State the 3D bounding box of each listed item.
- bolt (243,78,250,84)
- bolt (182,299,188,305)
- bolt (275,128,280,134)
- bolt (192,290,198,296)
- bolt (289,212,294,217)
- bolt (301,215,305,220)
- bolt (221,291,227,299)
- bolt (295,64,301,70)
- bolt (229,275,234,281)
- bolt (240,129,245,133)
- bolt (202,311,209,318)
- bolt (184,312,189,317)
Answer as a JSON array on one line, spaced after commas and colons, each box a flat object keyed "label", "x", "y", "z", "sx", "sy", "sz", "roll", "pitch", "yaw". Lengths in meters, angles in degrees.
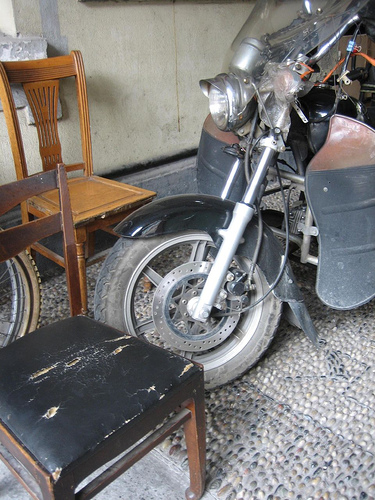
[{"label": "bolt", "x": 0.142, "y": -0.405, "z": 0.977, "sx": 0.016, "sy": 0.013, "sz": 0.009, "roll": 1, "pitch": 27, "yaw": -1}, {"label": "bolt", "x": -0.007, "y": 0.151, "z": 1.174, "sx": 0.018, "sy": 0.019, "sz": 0.006, "roll": -4, "pitch": 27, "yaw": -10}, {"label": "bolt", "x": 0.225, "y": -0.298, "z": 1.014, "sx": 0.013, "sy": 0.012, "sz": 0.004, "roll": 5, "pitch": 5, "yaw": 8}, {"label": "bolt", "x": 0.019, "y": 0.125, "z": 1.176, "sx": 0.016, "sy": 0.015, "sz": 0.004, "roll": 6, "pitch": 4, "yaw": 2}, {"label": "bolt", "x": 0.401, "y": -0.136, "z": 1.559, "sx": 0.015, "sy": 0.005, "sz": 0.015, "roll": 4, "pitch": 12, "yaw": 9}, {"label": "bolt", "x": 0.431, "y": -0.120, "z": 1.510, "sx": 0.021, "sy": 0.020, "sz": 0.007, "roll": 3, "pitch": 2, "yaw": 30}, {"label": "bolt", "x": 0.106, "y": 0.131, "z": 1.160, "sx": 0.018, "sy": 0.017, "sz": 0.004, "roll": 12, "pitch": 4, "yaw": -18}, {"label": "bolt", "x": 0.262, "y": -0.430, "z": 0.956, "sx": 0.016, "sy": 0.015, "sz": 0.004, "roll": -3, "pitch": 1, "yaw": 8}, {"label": "bolt", "x": 0.126, "y": 0.080, "z": 1.170, "sx": 0.017, "sy": 0.016, "sz": 0.005, "roll": 3, "pitch": -2, "yaw": -2}, {"label": "bolt", "x": 0.153, "y": -0.331, "z": 1.133, "sx": 0.006, "sy": 0.006, "sz": 0.002, "roll": 0, "pitch": 6, "yaw": 8}, {"label": "bolt", "x": 0.051, "y": 0.178, "z": 1.115, "sx": 0.007, "sy": 0.027, "sz": 0.024, "roll": 23, "pitch": 34, "yaw": 36}, {"label": "bolt", "x": -0.004, "y": 0.188, "z": 1.183, "sx": 0.018, "sy": 0.017, "sz": 0.005, "roll": 1, "pitch": 0, "yaw": -8}]
